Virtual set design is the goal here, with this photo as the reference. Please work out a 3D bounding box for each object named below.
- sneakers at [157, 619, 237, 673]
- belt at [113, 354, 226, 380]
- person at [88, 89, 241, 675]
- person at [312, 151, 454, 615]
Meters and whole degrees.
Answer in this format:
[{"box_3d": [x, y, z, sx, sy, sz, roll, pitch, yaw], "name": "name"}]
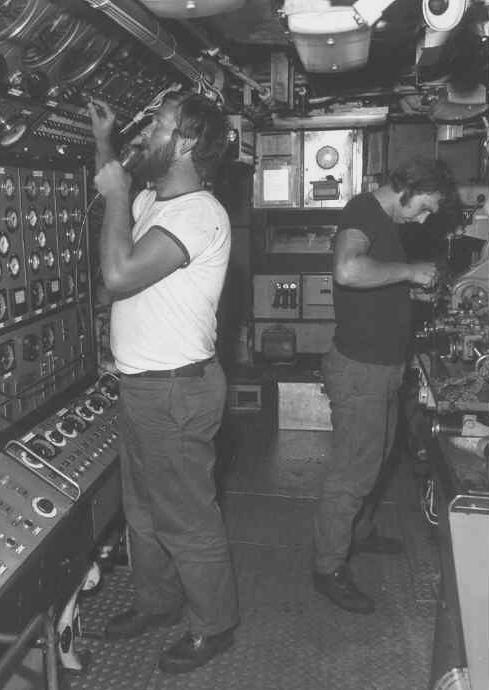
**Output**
[{"box_3d": [-0.171, 1.047, 2.061, 0.190, 0.053, 0.108, -15, 22, -36], "name": "sneakers"}, {"box_3d": [-0.247, 0.078, 1.978, 0.327, 0.068, 0.129, 0, 6, -12], "name": "belt"}, {"box_3d": [-0.282, 0.148, 1.991, 0.467, 1.910, 0.621, 2, 4, 14], "name": "person"}, {"box_3d": [0.586, 0.160, 2.534, 0.508, 1.829, 0.648, 2, 4, 20], "name": "person"}]
